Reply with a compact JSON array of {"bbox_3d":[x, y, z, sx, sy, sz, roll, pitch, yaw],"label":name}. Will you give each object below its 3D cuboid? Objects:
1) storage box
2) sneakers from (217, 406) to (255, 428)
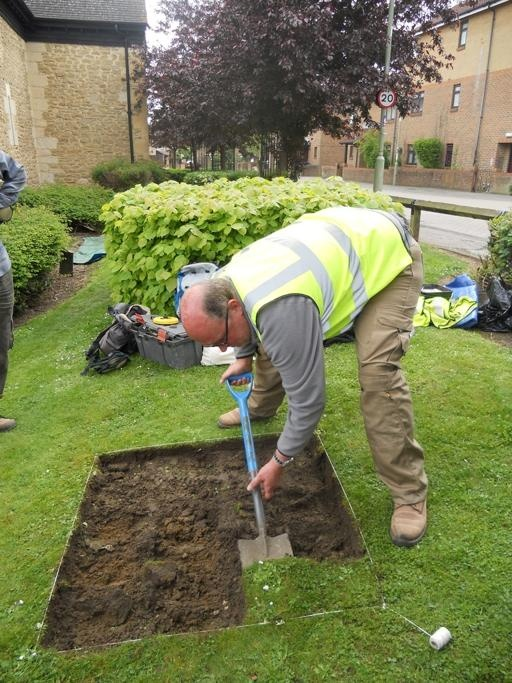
[{"bbox_3d":[-0.775,-0.018,4.501,0.627,0.390,0.498,19,21,38],"label":"storage box"},{"bbox_3d":[-0.129,0.507,3.413,0.269,0.108,0.100,-4,14,-7],"label":"sneakers"}]
